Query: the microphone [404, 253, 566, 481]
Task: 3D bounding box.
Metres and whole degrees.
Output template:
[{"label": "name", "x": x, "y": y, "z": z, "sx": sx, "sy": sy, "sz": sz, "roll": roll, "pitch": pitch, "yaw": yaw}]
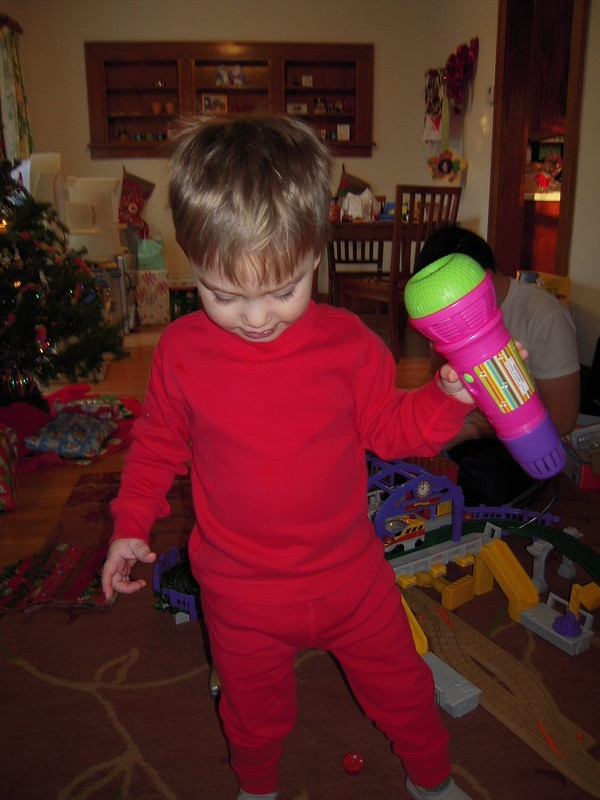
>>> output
[{"label": "microphone", "x": 0.185, "y": -0.024, "z": 0.575, "sx": 0.151, "sy": 0.217, "sz": 0.060, "roll": -8, "pitch": 16, "yaw": -20}]
